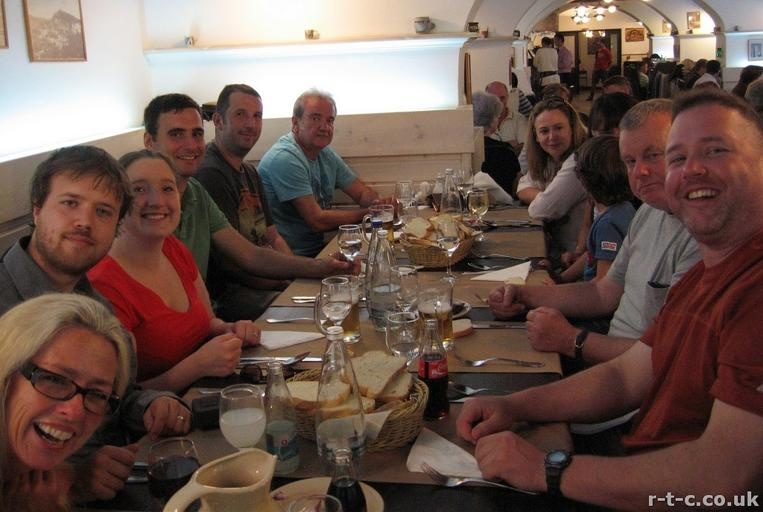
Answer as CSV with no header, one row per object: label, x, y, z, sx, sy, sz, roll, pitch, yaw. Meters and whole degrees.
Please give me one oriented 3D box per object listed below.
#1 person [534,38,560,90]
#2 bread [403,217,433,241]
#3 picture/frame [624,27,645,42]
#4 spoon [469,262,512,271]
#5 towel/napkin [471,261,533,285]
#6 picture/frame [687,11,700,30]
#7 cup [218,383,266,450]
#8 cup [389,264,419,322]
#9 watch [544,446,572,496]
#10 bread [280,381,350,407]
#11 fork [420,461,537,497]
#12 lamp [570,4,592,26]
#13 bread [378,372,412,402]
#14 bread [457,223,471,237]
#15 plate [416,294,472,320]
person,4.433,-5.195,14.664,0.640,1.457,2.198,0,10,16
bread,0.198,-0.154,2.751,0.117,0.029,0.117,-33,36,-25
picture/frame,12.453,-10.834,26.703,0.770,0.547,0.107,1,23,8
spoon,0.541,0.053,2.699,0.181,0.025,0.025,-2,37,5
towel/napkin,0.604,0.082,2.582,0.134,0.013,0.156,17,25,39
picture/frame,11.256,-8.417,19.564,0.441,0.661,0.262,2,11,26
cup,-0.368,0.443,1.455,0.115,0.178,0.122,-3,10,1
cup,0.089,0.130,1.954,0.143,0.247,0.143,-2,10,0
watch,0.437,0.534,1.360,0.061,0.096,0.100,-5,26,32
bread,-0.173,0.370,1.492,0.150,0.022,0.081,1,9,11
fork,0.250,0.560,1.361,0.223,0.032,0.038,7,18,8
lamp,7.661,-9.289,20.735,0.465,0.679,1.519,0,10,16
bread,0.048,0.377,1.560,0.066,0.018,0.068,7,23,17
bread,0.424,-0.126,2.773,0.037,0.034,0.133,-17,11,1
plate,0.237,0.186,2.013,0.172,0.115,0.103,5,-4,-42
